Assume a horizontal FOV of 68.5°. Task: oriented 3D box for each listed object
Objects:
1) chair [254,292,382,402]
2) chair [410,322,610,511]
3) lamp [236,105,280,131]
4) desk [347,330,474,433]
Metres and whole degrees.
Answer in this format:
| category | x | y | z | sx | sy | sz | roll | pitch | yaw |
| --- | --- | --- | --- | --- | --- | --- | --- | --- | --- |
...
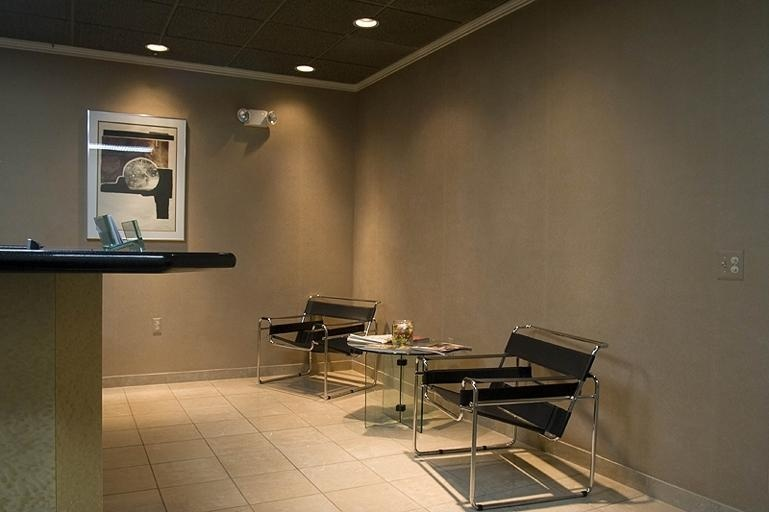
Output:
| category | x | y | z | sx | sy | sz | roll | pitch | yaw |
| --- | --- | --- | --- | --- | --- | --- | --- | --- | --- |
| chair | -0.780 | 0.952 | 6.871 | 1.459 | 1.241 | 1.132 | -3 | -5 | 40 |
| chair | 0.981 | 1.170 | 4.553 | 1.317 | 1.209 | 1.239 | 3 | -4 | -18 |
| lamp | -1.554 | -1.680 | 6.926 | 0.502 | 0.234 | 0.164 | -1 | 6 | -16 |
| desk | 0.136 | 1.263 | 5.383 | 1.001 | 0.571 | 0.981 | -8 | -14 | 18 |
